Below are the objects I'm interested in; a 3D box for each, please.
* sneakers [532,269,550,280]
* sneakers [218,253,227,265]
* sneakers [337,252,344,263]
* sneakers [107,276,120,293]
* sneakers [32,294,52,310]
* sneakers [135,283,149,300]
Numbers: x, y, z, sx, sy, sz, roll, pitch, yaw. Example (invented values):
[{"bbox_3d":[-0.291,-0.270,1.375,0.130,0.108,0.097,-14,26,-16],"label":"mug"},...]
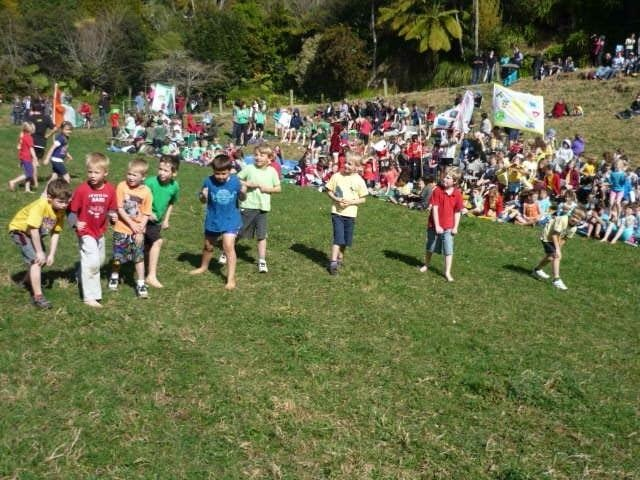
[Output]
[{"bbox_3d":[4.858,0.748,15.799,0.361,0.175,0.172,11,23,26],"label":"sneakers"},{"bbox_3d":[-2.005,0.396,14.825,0.149,0.194,0.415,0,1,-12],"label":"sneakers"},{"bbox_3d":[0.453,0.358,15.576,0.101,0.242,0.369,5,10,3],"label":"sneakers"},{"bbox_3d":[-3.791,0.758,13.256,0.189,0.253,0.388,1,11,-16],"label":"sneakers"},{"bbox_3d":[-4.751,1.042,12.344,0.406,0.192,0.154,12,24,31],"label":"sneakers"},{"bbox_3d":[-3.208,0.933,13.028,0.144,0.249,0.350,2,-7,-28],"label":"sneakers"}]
